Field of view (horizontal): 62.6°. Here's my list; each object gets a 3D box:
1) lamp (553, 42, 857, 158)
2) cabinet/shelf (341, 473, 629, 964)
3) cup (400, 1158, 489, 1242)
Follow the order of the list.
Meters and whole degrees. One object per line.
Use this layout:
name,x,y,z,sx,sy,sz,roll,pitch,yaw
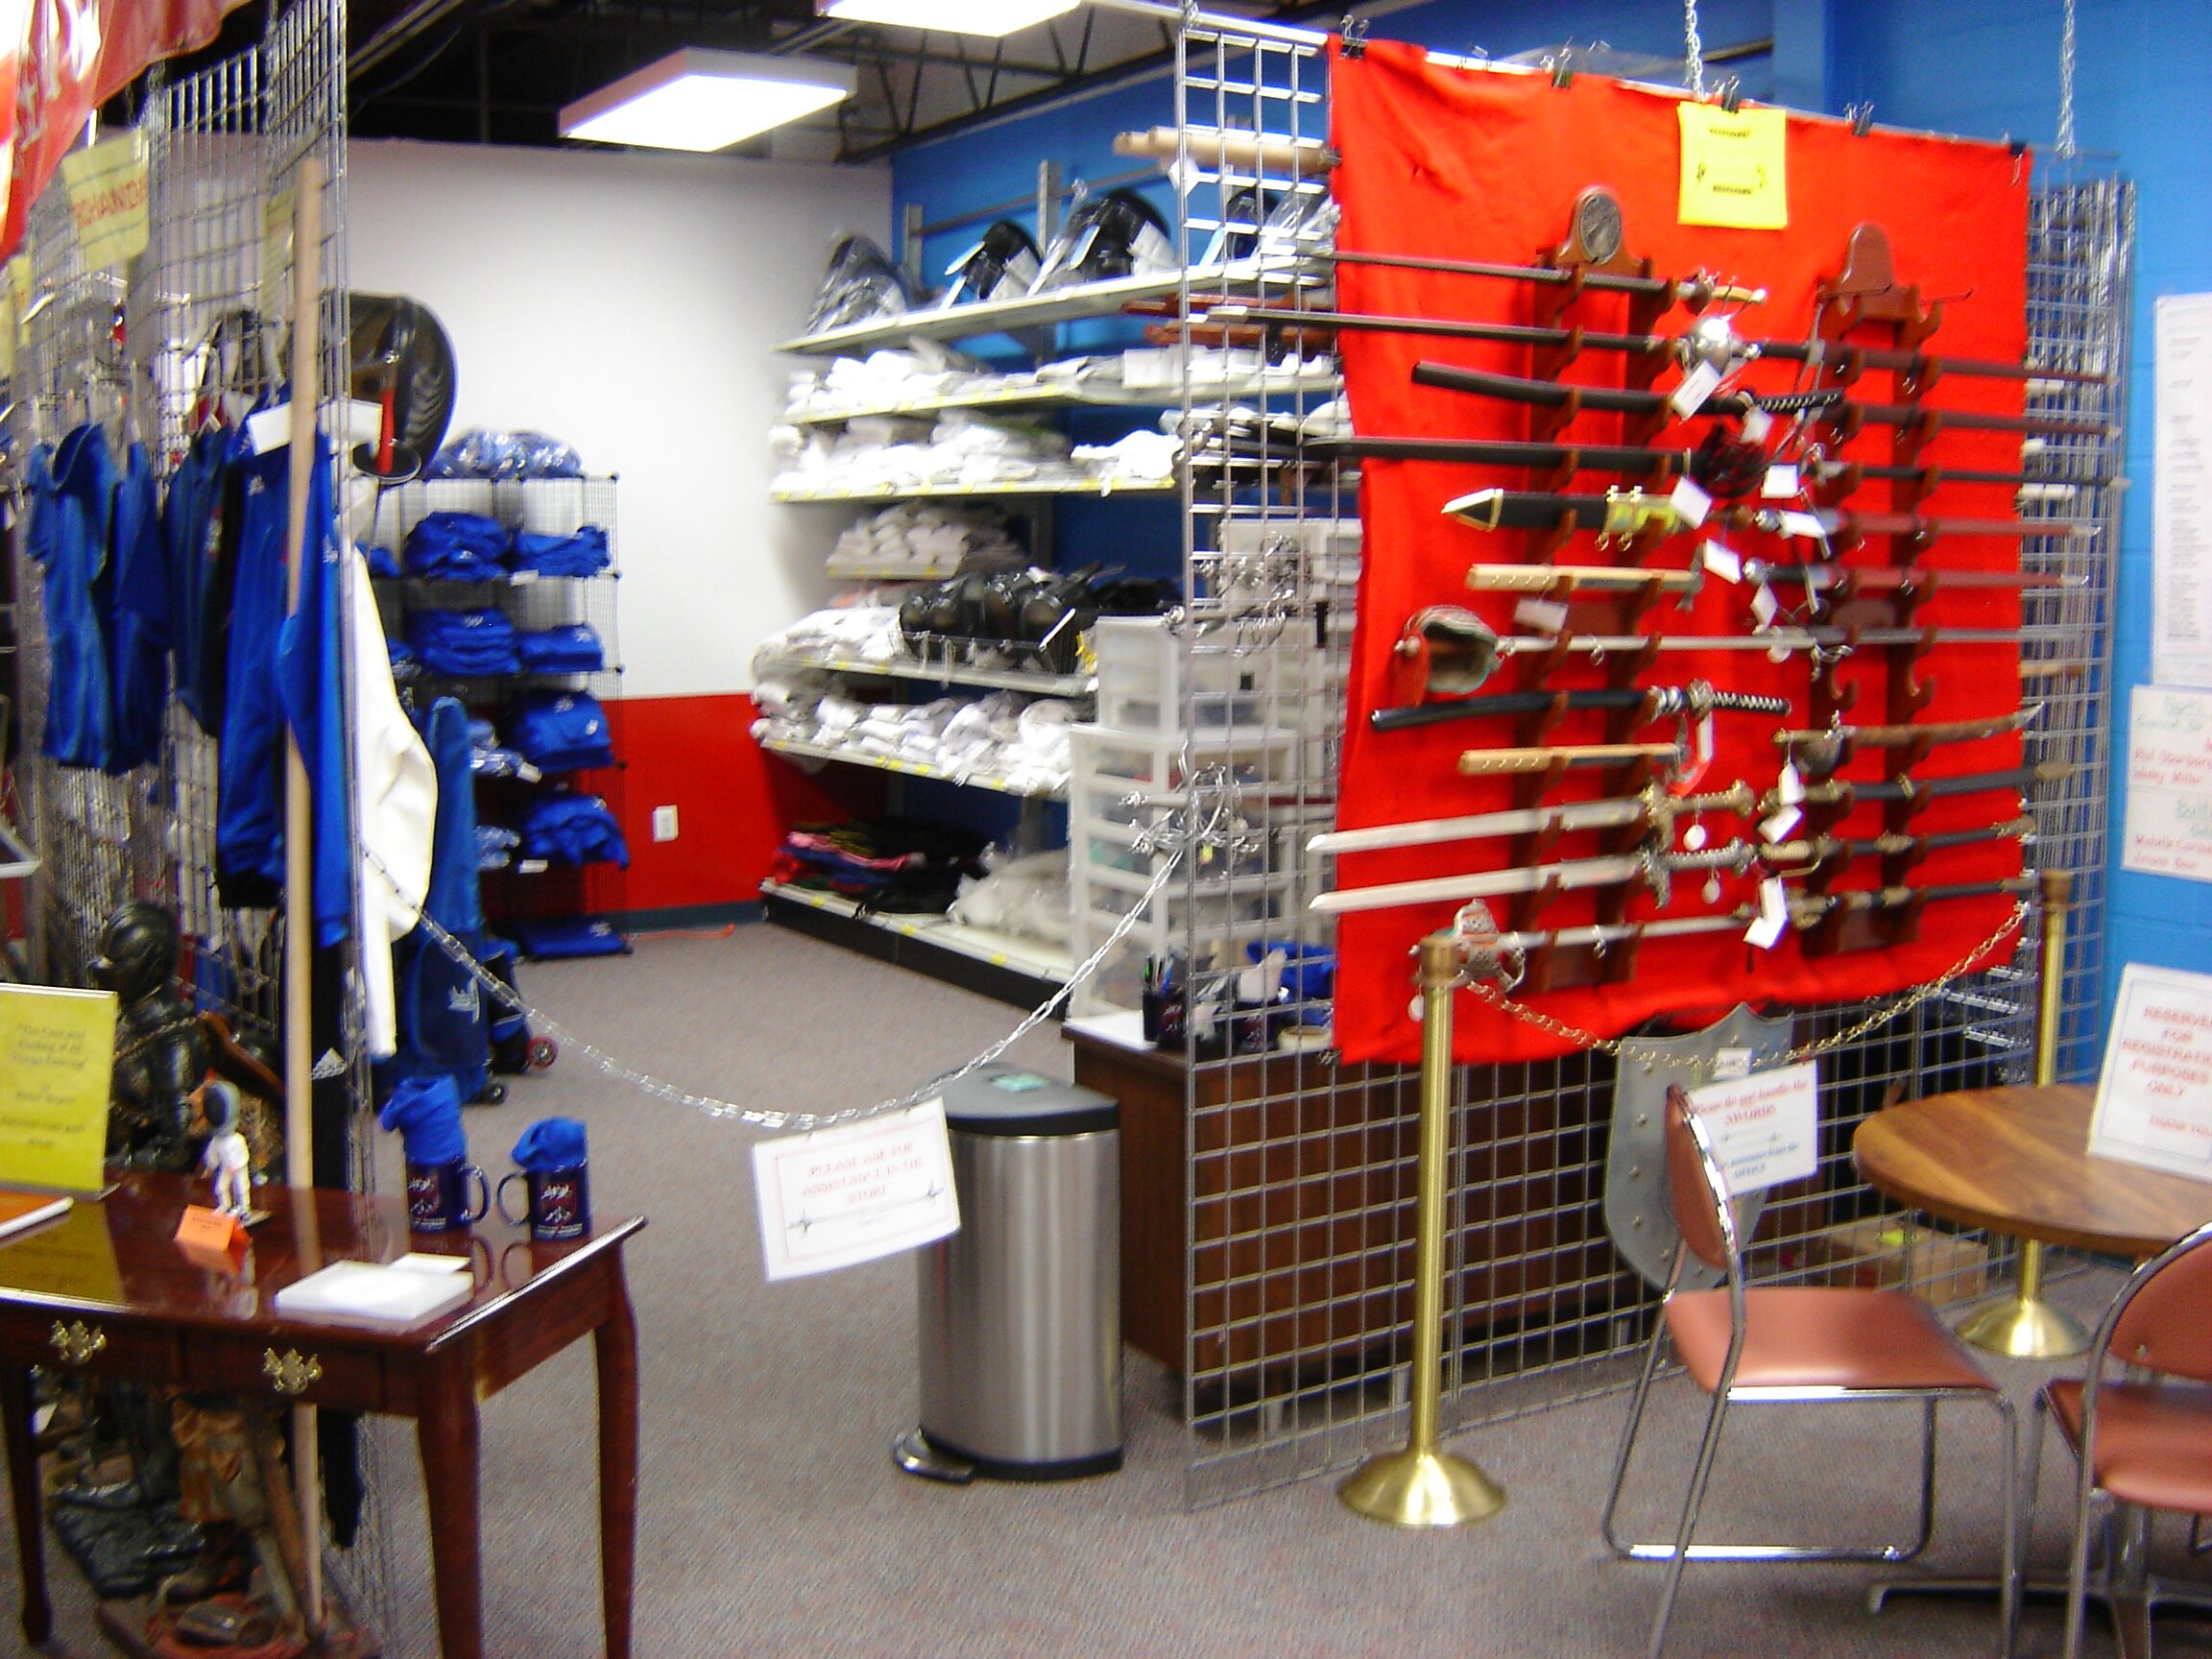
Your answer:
lamp,-1.630,-3.012,7.502,0.733,0.178,1.275,-12,15,-35
cabinet/shelf,-2.613,-0.426,8.015,1.073,2.348,2.693,-6,12,-14
cup,-1.189,0.649,3.198,0.172,0.159,0.113,2,0,7
